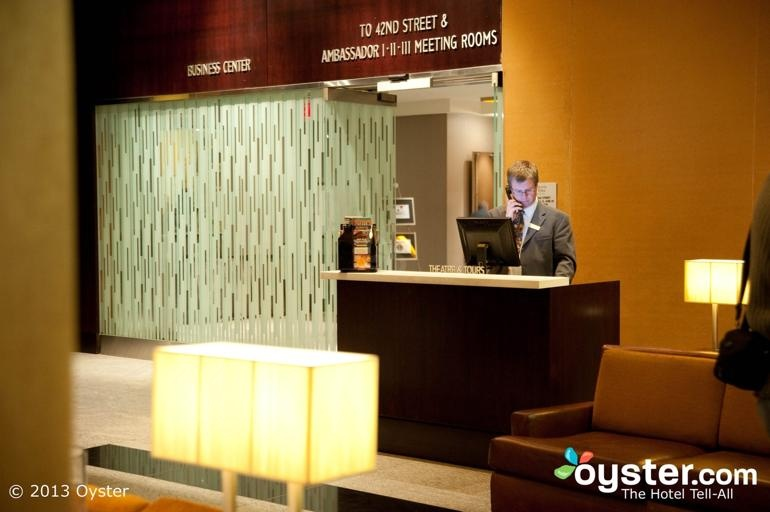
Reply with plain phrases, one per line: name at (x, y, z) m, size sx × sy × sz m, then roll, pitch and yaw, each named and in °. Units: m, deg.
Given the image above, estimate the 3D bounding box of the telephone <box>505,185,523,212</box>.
telephone at (1.007, -0.444, 5.444) m, size 0.039 × 0.177 × 0.177 m, roll -10°, pitch 33°, yaw -7°

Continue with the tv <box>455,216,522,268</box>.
tv at (0.738, -0.106, 4.926) m, size 0.345 × 0.278 × 0.165 m, roll 1°, pitch 17°, yaw 44°
